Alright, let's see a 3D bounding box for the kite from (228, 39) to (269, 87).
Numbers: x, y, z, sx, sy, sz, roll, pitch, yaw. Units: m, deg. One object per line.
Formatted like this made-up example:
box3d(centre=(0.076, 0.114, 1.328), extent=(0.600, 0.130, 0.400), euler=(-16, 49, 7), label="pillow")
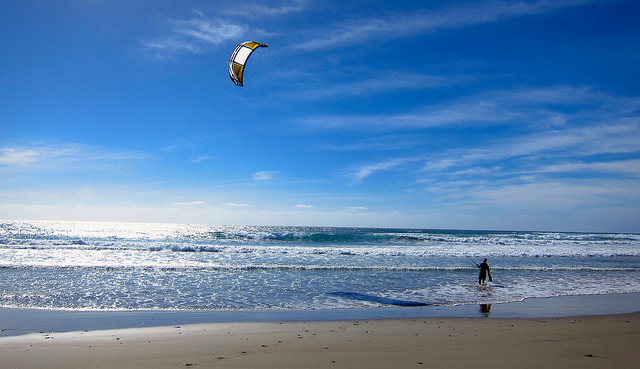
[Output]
box3d(centre=(-4.443, -6.745, 29.992), extent=(1.037, 2.483, 1.021), euler=(7, -11, -27), label="kite")
